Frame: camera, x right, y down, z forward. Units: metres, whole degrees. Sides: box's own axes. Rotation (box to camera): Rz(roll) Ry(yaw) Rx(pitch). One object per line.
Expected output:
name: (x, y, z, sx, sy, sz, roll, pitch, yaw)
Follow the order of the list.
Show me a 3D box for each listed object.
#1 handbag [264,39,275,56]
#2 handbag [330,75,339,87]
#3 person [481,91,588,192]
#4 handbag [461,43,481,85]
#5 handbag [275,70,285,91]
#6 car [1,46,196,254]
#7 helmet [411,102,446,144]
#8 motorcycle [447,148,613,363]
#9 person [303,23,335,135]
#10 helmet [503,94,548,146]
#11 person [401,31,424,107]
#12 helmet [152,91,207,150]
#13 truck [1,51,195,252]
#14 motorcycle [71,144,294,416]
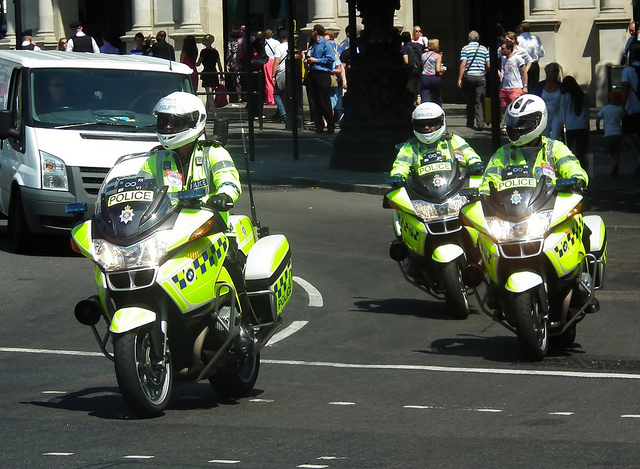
handbag: (-1.554, -5.792, 29.706, 0.067, 0.668, 0.090, -18, -9, 1)
handbag: (0.390, -4.342, 27.284, 0.239, 0.343, 0.368, -2, 12, -1)
person: (1.995, -0.693, 8.950, 0.912, 1.242, 0.922, -9, 8, -40)
handbag: (3.999, -4.486, 25.478, 0.337, 1.196, 0.092, 32, -11, -33)
handbag: (-1.138, -4.398, 27.984, 0.345, 0.452, 0.621, -3, 46, 2)
car: (-3.332, -1.508, 13.541, 2.319, 2.042, 3.808, -1, -1, -12)
helmet: (1.205, -1.259, 10.818, 0.335, 0.367, 0.460, -3, 16, 16)
motorcycle: (1.917, 0.163, 8.797, 1.220, 1.854, 0.859, -7, 11, -38)
person: (-0.006, -4.248, 26.402, 0.755, 2.942, 0.989, 0, 8, 0)
helmet: (1.923, -1.097, 9.054, 0.376, 0.443, 0.470, 10, 18, 39)
person: (2.532, -4.505, 26.325, 0.576, 1.921, 1.463, 0, 9, 6)
helmet: (-1.060, -0.880, 7.290, 0.369, 0.388, 0.452, 3, 14, 7)
truck: (-3.422, -1.464, 13.519, 2.298, 2.010, 3.824, 0, -2, -11)
motorcycle: (-1.001, 0.386, 7.014, 1.526, 1.919, 0.728, -8, 11, -42)
